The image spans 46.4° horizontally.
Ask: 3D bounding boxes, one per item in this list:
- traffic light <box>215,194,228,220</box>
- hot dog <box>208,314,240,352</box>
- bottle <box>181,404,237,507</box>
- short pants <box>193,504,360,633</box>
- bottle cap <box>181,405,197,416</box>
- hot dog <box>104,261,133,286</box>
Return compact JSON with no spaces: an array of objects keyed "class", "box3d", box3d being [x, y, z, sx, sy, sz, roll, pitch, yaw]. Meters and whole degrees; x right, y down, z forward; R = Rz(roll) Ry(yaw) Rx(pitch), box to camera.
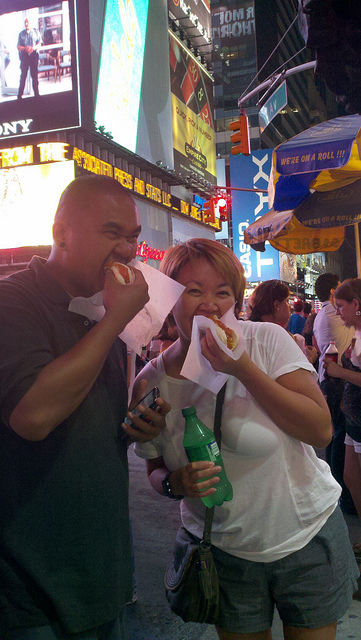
[{"class":"traffic light","box3d":[2.379,-6.869,25.489,0.679,1.494,1.439,-1,6,3]},{"class":"hot dog","box3d":[0.138,0.031,1.358,0.033,0.108,0.077,-32,-22,18]},{"class":"bottle","box3d":[0.081,0.472,1.458,0.175,0.370,0.218,-5,7,-33]},{"class":"short pants","box3d":[0.357,0.898,1.465,0.493,0.369,0.208,-1,6,-2]},{"class":"bottle cap","box3d":[0.025,0.306,1.449,0.041,0.029,0.043,-22,-2,26]},{"class":"hot dog","box3d":[-0.177,-0.121,1.243,0.074,0.042,0.060,46,11,25]}]
